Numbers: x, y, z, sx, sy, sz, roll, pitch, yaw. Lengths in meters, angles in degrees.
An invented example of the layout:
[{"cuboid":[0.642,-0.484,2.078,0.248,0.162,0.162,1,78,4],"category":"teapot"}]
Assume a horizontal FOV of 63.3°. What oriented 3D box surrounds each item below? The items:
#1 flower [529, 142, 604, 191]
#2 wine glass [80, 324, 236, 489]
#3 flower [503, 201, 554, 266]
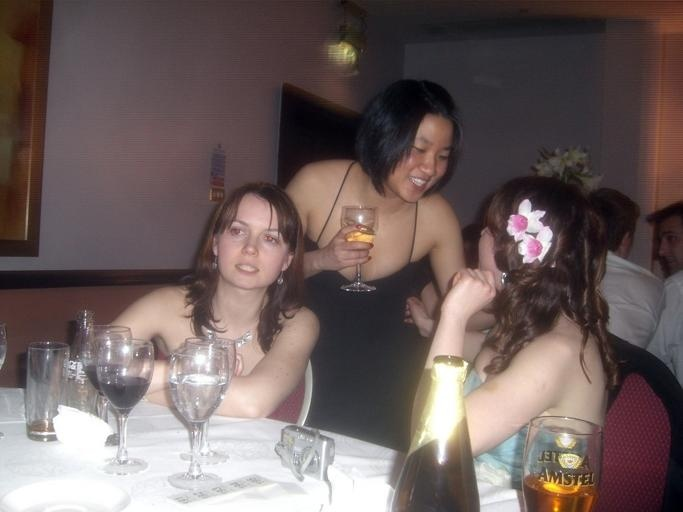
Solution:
[{"cuboid":[1.385,-0.561,3.362,0.239,0.180,0.239,0,-4,-28],"category":"flower"},{"cuboid":[-0.477,0.402,1.420,0.324,0.288,0.127,3,7,15],"category":"wine glass"},{"cuboid":[0.594,-0.072,1.747,0.138,0.205,0.054,6,11,19],"category":"flower"}]
